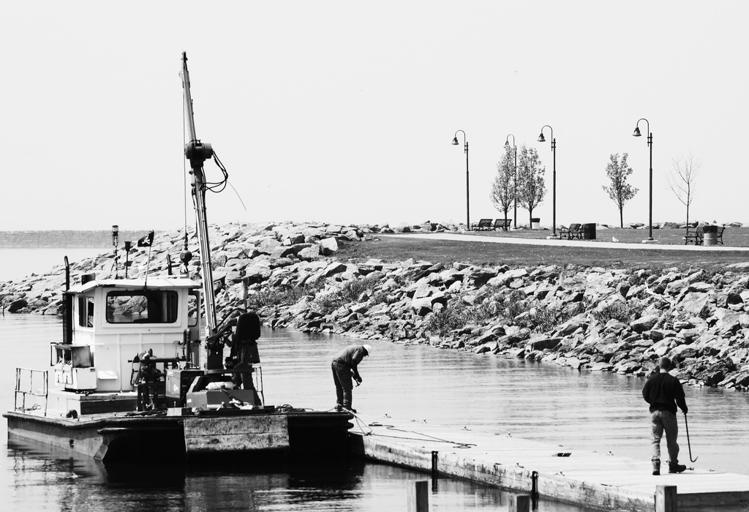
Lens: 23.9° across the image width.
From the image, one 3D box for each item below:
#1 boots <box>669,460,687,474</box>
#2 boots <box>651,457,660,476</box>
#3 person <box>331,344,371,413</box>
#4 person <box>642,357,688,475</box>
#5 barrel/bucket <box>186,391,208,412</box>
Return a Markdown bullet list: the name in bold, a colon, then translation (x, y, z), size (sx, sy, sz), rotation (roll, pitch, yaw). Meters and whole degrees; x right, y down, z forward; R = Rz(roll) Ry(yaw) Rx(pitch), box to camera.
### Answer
- **boots**: translation (7.644, 5.276, 44.549), size (0.536, 0.387, 0.193), rotation (-14, 13, -39)
- **boots**: translation (7.017, 5.266, 44.297), size (0.139, 0.486, 0.211), rotation (-2, 9, 10)
- **person**: translation (-0.750, 3.413, 50.585), size (0.866, 1.997, 0.968), rotation (11, 0, 11)
- **person**: translation (7.362, 4.041, 44.861), size (1.152, 2.857, 0.907), rotation (0, 0, -2)
- **barrel/bucket**: translation (-4.807, 3.951, 48.151), size (0.438, 0.594, 0.800), rotation (4, -6, -33)
